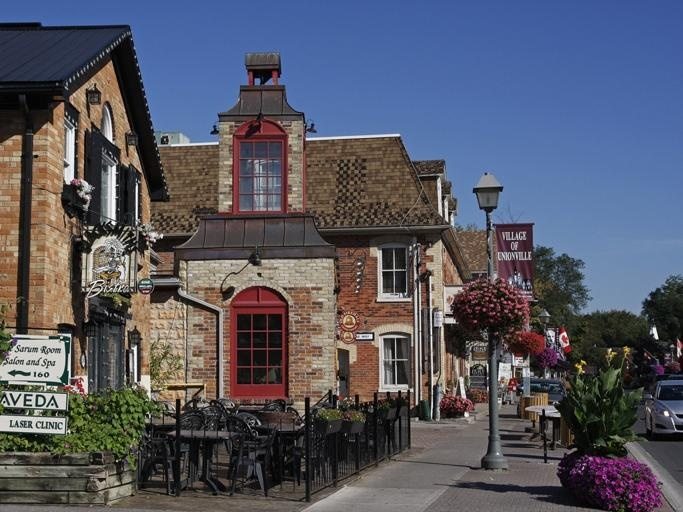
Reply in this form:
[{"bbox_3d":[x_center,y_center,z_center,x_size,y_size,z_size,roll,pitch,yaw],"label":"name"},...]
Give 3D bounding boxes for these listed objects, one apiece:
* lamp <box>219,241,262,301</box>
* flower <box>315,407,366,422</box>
[{"bbox_3d":[-2.778,0.485,35.275,1.064,1.528,0.398,6,0,31],"label":"lamp"},{"bbox_3d":[0.006,3.217,25.954,0.618,0.208,0.427,19,-22,-42],"label":"flower"}]
